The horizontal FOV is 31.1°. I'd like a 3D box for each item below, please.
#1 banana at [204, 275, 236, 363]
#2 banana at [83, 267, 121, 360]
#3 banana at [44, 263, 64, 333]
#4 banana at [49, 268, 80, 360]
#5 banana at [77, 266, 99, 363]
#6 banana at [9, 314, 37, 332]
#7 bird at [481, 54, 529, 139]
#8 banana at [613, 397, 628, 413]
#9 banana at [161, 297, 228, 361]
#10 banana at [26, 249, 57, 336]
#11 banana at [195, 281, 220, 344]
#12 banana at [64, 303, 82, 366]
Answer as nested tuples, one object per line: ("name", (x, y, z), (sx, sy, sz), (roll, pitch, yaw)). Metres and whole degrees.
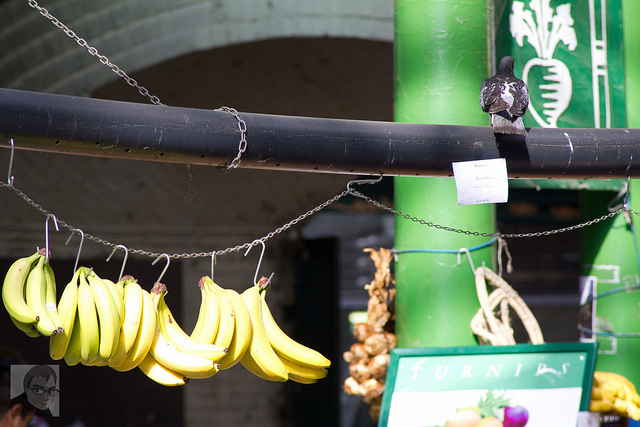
("banana", (-0.585, 0.565, 6.436), (0.125, 0.400, 0.105), (0, -29, -29))
("banana", (-1.202, 0.544, 6.274), (0.117, 0.469, 0.156), (-5, -19, -36))
("banana", (-1.410, 0.495, 6.273), (0.078, 0.437, 0.134), (-10, -5, -8))
("banana", (-1.427, 0.570, 6.305), (0.110, 0.527, 0.165), (15, -14, -20))
("banana", (-1.273, 0.562, 6.255), (0.087, 0.481, 0.114), (-9, -9, 36))
("banana", (-1.630, 0.600, 6.260), (0.186, 0.096, 0.114), (-4, -4, 42))
("bird", (1.036, -0.703, 6.596), (0.200, 0.504, 0.321), (-1, -35, 4))
("banana", (1.796, 1.139, 6.847), (0.072, 0.083, 0.041), (2, -7, 15))
("banana", (-0.710, 0.678, 6.441), (0.099, 0.202, 0.536), (-36, -57, 24))
("banana", (-1.533, 0.449, 6.301), (0.109, 0.525, 0.169), (-16, -21, 32))
("banana", (-0.617, 0.566, 6.414), (0.078, 0.352, 0.116), (3, -13, 0))
("banana", (-1.340, 0.660, 6.341), (0.080, 0.349, 0.106), (1, -10, 15))
